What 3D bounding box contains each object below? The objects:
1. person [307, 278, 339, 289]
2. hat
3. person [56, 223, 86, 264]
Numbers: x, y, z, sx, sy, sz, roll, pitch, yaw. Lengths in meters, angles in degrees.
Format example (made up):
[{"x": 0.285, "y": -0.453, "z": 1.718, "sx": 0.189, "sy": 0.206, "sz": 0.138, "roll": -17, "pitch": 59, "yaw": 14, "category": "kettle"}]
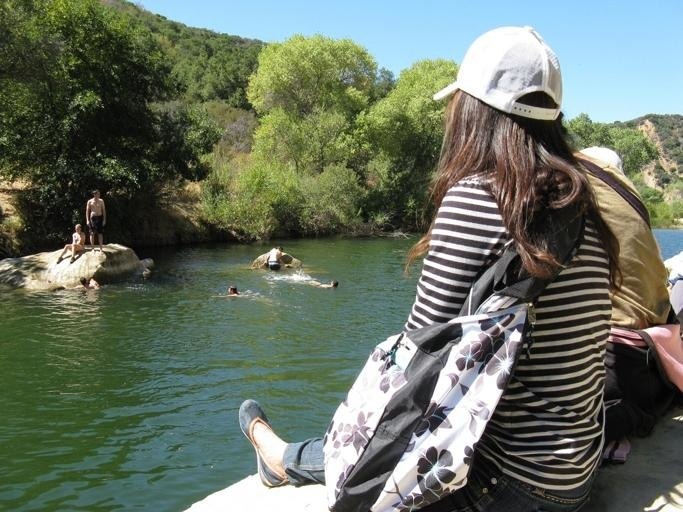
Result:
[{"x": -0.587, "y": 0.889, "z": 17.123, "sx": 0.373, "sy": 0.282, "sz": 0.703, "roll": -9, "pitch": 17, "yaw": -42, "category": "person"}, {"x": 0.902, "y": -1.049, "z": 3.189, "sx": 0.567, "sy": 0.463, "sz": 0.739, "roll": 4, "pitch": 20, "yaw": -21, "category": "hat"}, {"x": -8.517, "y": -0.372, "z": 17.537, "sx": 0.766, "sy": 1.172, "sz": 1.142, "roll": -1, "pitch": 5, "yaw": -28, "category": "person"}]
